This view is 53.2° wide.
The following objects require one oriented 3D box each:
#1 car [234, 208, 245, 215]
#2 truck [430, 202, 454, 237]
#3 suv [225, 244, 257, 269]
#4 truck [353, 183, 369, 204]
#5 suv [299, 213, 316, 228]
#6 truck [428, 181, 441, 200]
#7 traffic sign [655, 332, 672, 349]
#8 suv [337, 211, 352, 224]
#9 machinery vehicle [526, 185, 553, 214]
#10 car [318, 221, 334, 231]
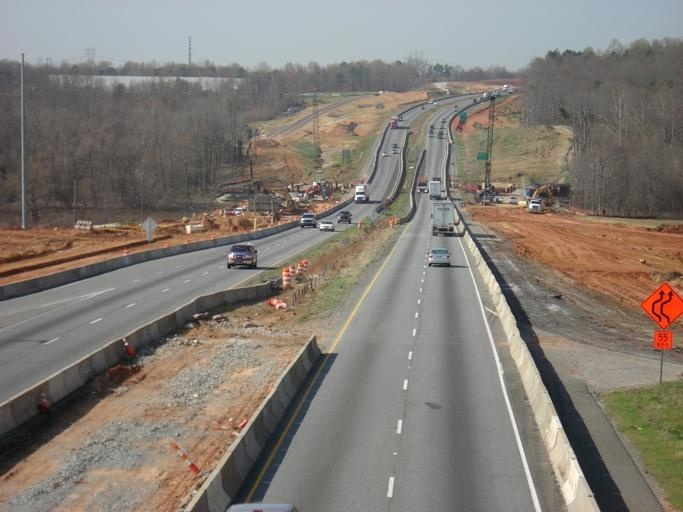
[{"bbox_3d":[-16.860,-7.377,112.727,1.196,0.891,1.820,-1,0,9],"label":"car"},{"bbox_3d":[11.737,-4.202,79.165,2.285,3.961,2.328,4,13,13],"label":"truck"},{"bbox_3d":[-8.847,0.194,60.801,1.917,1.987,2.665,6,13,24],"label":"suv"},{"bbox_3d":[3.658,-11.104,122.486,2.200,3.221,3.442,3,12,10],"label":"truck"},{"bbox_3d":[-4.712,-4.937,96.881,1.957,1.947,2.809,1,12,2],"label":"suv"},{"bbox_3d":[15.958,-11.135,116.743,1.962,3.074,1.908,2,12,4],"label":"truck"},{"bbox_3d":[15.371,4.000,32.650,0.872,0.775,0.135,-2,1,8],"label":"traffic sign"},{"bbox_3d":[0.419,-5.256,93.038,1.597,1.325,3.332,-1,0,3],"label":"suv"},{"bbox_3d":[33.777,-9.129,116.297,4.004,5.960,11.314,-1,7,3],"label":"machinery vehicle"},{"bbox_3d":[-2.127,-3.949,92.710,1.842,1.095,1.837,-1,12,-11],"label":"car"}]
